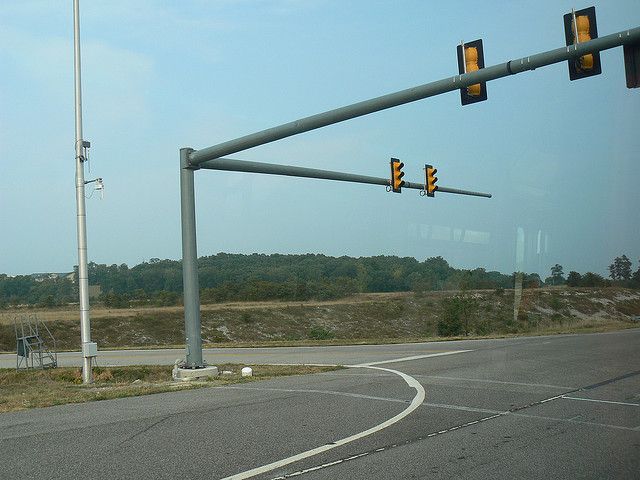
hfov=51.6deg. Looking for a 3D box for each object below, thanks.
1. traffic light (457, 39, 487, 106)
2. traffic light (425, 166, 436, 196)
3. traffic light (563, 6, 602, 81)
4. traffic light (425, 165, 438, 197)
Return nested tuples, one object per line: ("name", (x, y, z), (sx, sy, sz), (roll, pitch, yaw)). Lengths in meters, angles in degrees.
("traffic light", (3.410, -3.787, 14.978), (0.546, 1.435, 0.346), (-4, -15, 12))
("traffic light", (4.027, -2.207, 24.463), (0.347, 1.060, 0.830), (0, 4, 9))
("traffic light", (5.459, -4.106, 13.866), (0.713, 1.419, 0.450), (1, 4, 22))
("traffic light", (4.074, -2.198, 24.512), (0.293, 1.125, 0.811), (1, 4, 19))
